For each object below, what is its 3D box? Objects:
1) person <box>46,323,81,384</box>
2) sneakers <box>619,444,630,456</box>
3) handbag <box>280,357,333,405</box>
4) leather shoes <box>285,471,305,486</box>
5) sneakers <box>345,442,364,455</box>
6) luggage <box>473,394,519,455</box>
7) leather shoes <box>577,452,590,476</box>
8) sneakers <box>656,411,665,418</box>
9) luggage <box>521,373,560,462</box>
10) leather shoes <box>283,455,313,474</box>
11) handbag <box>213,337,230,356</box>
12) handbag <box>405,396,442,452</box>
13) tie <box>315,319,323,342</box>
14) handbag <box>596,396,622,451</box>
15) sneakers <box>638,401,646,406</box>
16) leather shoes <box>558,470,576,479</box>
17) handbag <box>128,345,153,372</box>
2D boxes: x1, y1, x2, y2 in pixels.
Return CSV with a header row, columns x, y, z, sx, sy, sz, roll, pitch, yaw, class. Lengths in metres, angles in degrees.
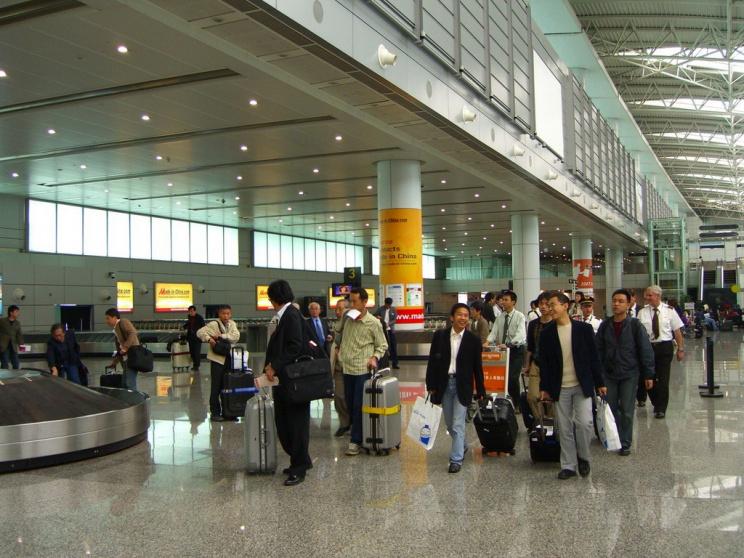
x,y,z,sx,sy,sz,roll,pitch,yaw,class
-6.111,1.510,11.995,0.442,1.259,1.136,-1,-2,-10,person
3.196,2.153,7.625,0.073,0.085,0.206,2,7,19,sneakers
-0.737,1.121,6.678,0.542,0.451,0.259,-2,-8,-41,handbag
-0.843,2.202,6.700,0.263,0.120,0.190,-1,-2,-23,leather shoes
-0.239,2.235,7.920,0.099,0.099,0.253,-1,-10,17,sneakers
1.579,1.853,7.666,0.565,0.768,0.445,-2,-2,3,luggage
2.412,2.125,6.877,0.122,0.189,0.246,-2,-2,20,leather shoes
4.666,2.199,9.776,0.069,0.075,0.191,-5,-10,13,sneakers
2.162,1.716,7.803,0.397,1.028,1.767,-2,-2,13,luggage
-0.784,2.159,6.963,0.154,0.199,0.458,-2,-7,30,leather shoes
-2.504,1.113,10.313,0.303,0.301,0.282,14,7,8,handbag
0.651,1.756,7.412,0.464,0.624,0.167,-3,-2,33,handbag
-1.013,0.940,11.343,0.109,0.339,0.246,-6,5,24,tie
2.698,1.656,6.923,0.242,0.626,0.254,-3,-2,32,handbag
4.857,2.244,10.884,0.081,0.040,0.114,-2,-2,9,sneakers
2.182,2.172,6.752,0.088,0.106,0.265,-9,-13,39,leather shoes
-4.111,1.422,10.712,0.468,0.450,0.178,8,-7,-39,handbag
